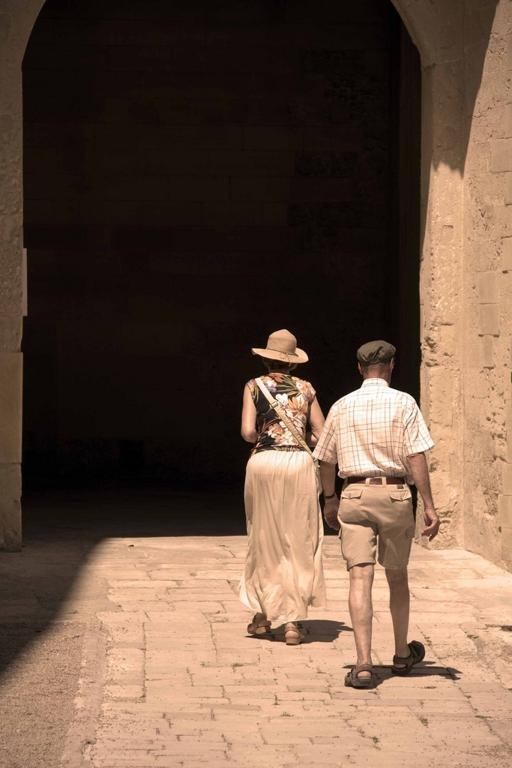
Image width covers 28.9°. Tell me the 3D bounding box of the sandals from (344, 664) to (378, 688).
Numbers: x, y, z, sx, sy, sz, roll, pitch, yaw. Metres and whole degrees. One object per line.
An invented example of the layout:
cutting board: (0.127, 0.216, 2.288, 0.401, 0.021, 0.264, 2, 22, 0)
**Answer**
sandals: (0.444, 1.243, 4.242, 0.084, 0.069, 0.154, 0, -1, 0)

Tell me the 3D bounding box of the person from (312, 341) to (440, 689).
person: (0.512, 0.554, 4.308, 0.530, 1.493, 0.443, 1, 1, 3)

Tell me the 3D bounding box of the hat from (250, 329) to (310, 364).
hat: (0.114, -0.191, 5.177, 0.205, 0.099, 0.228, 5, 2, -23)

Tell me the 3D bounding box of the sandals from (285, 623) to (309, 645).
sandals: (0.197, 1.263, 5.032, 0.067, 0.069, 0.168, 0, 0, 7)

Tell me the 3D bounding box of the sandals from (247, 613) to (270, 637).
sandals: (0.020, 1.254, 5.164, 0.143, 0.134, 0.079, 3, -4, 15)

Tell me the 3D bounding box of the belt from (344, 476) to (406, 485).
belt: (0.508, 0.412, 4.248, 0.252, 0.041, 0.124, 1, 1, 4)

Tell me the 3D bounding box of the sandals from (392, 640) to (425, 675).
sandals: (0.686, 1.224, 4.481, 0.082, 0.087, 0.207, 8, 20, 26)
